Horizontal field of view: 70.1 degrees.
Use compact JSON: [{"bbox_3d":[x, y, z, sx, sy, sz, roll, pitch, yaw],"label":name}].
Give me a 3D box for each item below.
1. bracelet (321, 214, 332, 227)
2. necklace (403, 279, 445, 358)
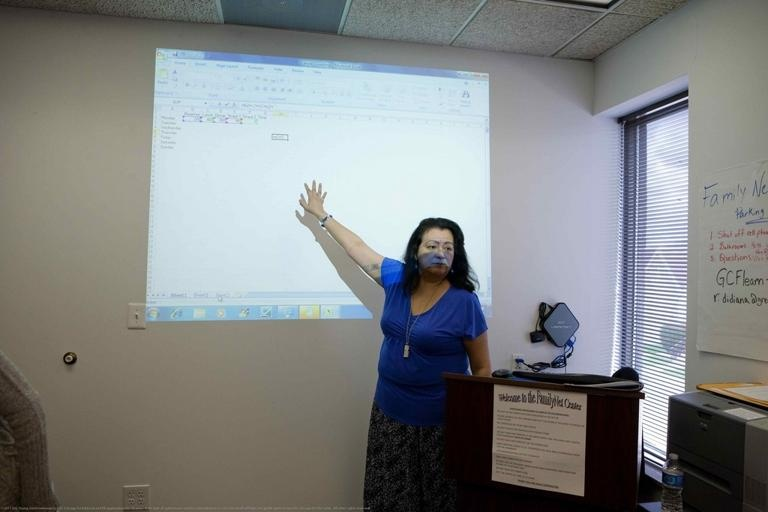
[{"bbox_3d":[-0.366,-0.225,3.502,0.051,0.052,0.055,-40,-35,10],"label":"bracelet"},{"bbox_3d":[0.227,0.302,3.036,0.149,0.014,0.542,-1,42,25],"label":"necklace"}]
